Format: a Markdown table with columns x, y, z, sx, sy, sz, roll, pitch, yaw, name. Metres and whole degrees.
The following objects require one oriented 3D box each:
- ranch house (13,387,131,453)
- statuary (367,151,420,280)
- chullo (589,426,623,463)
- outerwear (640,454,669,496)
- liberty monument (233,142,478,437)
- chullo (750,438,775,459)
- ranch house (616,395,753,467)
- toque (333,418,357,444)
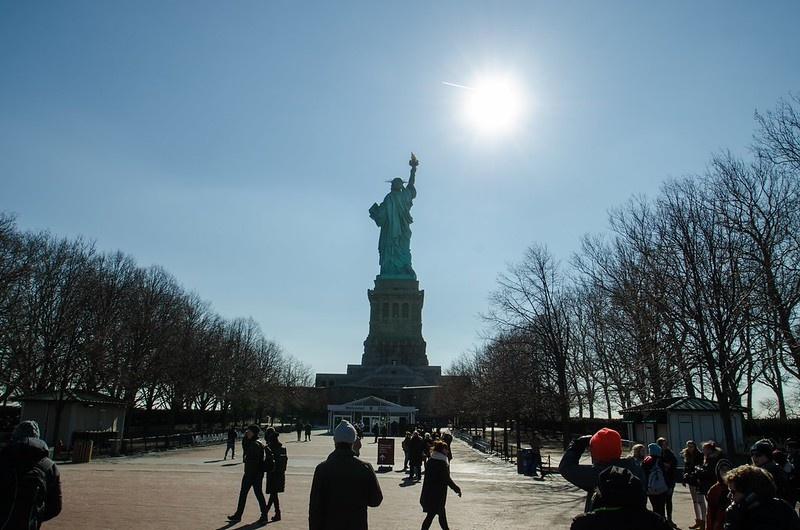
| x | y | z | sx | sy | sz | roll | pitch | yaw | name |
| --- | --- | --- | --- | --- | --- | --- | --- | --- | --- |
| -19.712 | 9.197 | 35.749 | 3.287 | 3.433 | 7.413 | -2 | -14 | -5 | ranch house |
| -1.254 | -9.495 | 114.080 | 9.921 | 25.267 | 7.226 | 1 | -3 | -9 | statuary |
| 3.392 | 3.008 | 9.951 | 0.472 | 0.615 | 0.618 | 0 | -5 | 6 | chullo |
| 6.474 | 5.308 | 15.049 | 0.533 | 0.972 | 0.628 | -3 | -6 | -40 | outerwear |
| 0.002 | 3.211 | 109.809 | 38.408 | 47.474 | 37.389 | 0 | -5 | -9 | liberty monument |
| 7.589 | 3.857 | 12.405 | 0.402 | 0.348 | 0.902 | -10 | -21 | 28 | chullo |
| 15.026 | 8.251 | 30.247 | 3.661 | 2.849 | 4.827 | 1 | -12 | 5 | ranch house |
| -1.035 | 3.164 | 11.188 | 0.399 | 0.443 | 0.643 | 2 | -18 | -4 | toque |
